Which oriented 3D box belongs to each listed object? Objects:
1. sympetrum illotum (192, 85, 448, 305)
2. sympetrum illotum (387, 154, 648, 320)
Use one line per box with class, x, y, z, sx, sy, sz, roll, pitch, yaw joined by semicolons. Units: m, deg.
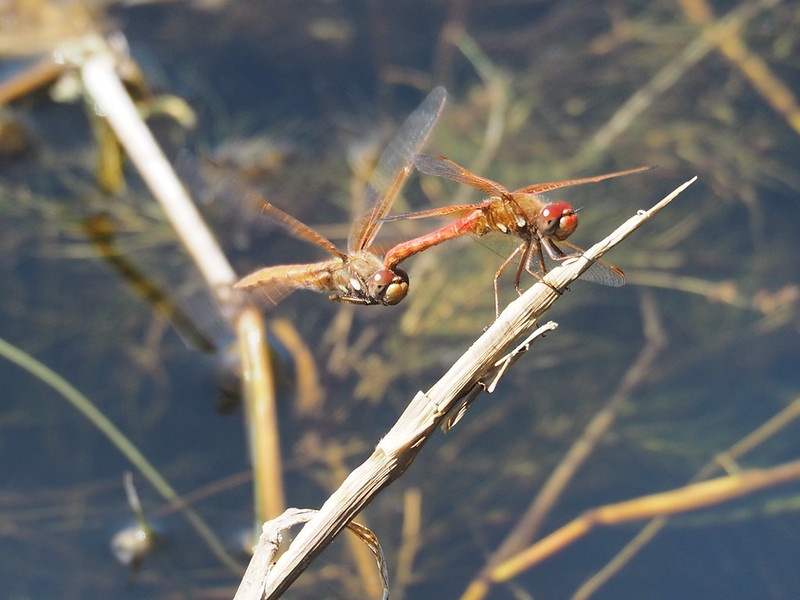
sympetrum illotum;-0.082;-0.075;1.398;0.199;0.351;0.183;-3;-73;30
sympetrum illotum;0.123;-0.086;1.409;0.372;0.345;0.174;-11;-89;23
